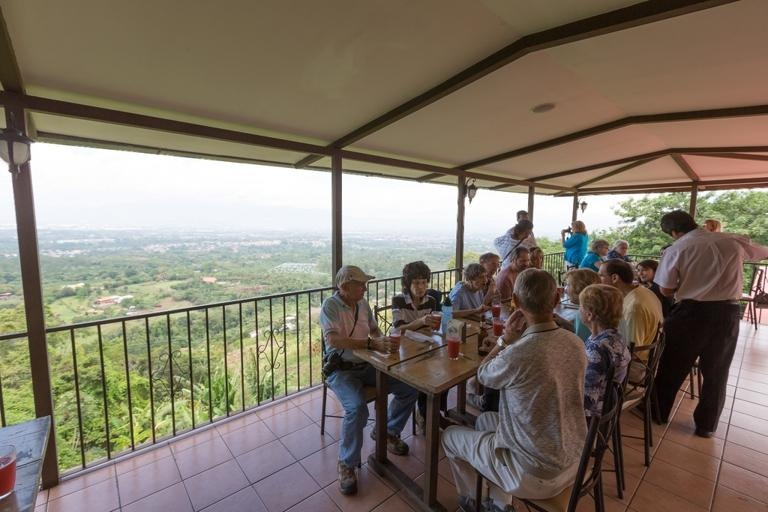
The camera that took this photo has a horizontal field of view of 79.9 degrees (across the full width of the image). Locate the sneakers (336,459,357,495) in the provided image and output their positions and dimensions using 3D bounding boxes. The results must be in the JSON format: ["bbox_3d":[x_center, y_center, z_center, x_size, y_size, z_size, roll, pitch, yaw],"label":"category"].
[{"bbox_3d":[-0.345,2.158,4.473,0.208,0.301,0.150,-2,-7,-24],"label":"sneakers"}]

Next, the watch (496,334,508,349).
[{"bbox_3d":[1.076,0.781,4.204,0.070,0.112,0.091,3,-6,26],"label":"watch"}]

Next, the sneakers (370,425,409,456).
[{"bbox_3d":[0.015,1.975,4.883,0.485,0.212,0.211,11,10,28],"label":"sneakers"}]

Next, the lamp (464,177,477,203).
[{"bbox_3d":[1.479,-1.138,7.821,0.172,0.450,0.289,-8,-7,20],"label":"lamp"}]

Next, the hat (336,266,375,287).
[{"bbox_3d":[-0.338,0.186,4.855,0.314,0.161,0.213,-11,9,-4],"label":"hat"}]

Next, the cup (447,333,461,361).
[{"bbox_3d":[0.649,0.856,4.381,0.196,0.246,0.205,-1,14,0],"label":"cup"}]

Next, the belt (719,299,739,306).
[{"bbox_3d":[3.678,0.486,4.863,0.277,0.065,0.065,-1,-8,-29],"label":"belt"}]

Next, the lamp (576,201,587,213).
[{"bbox_3d":[4.464,-1.132,10.286,0.200,0.254,0.208,2,2,-9],"label":"lamp"}]
